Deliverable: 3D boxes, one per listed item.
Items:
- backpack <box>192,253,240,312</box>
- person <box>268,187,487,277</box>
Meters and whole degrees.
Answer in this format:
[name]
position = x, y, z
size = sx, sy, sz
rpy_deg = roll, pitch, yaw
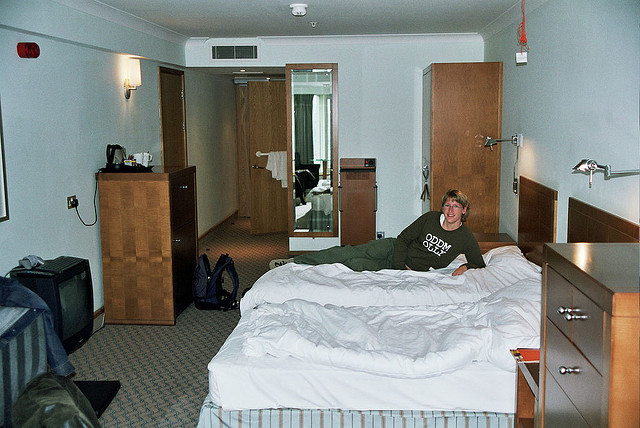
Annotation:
[backpack]
position = -1.198, 0.839, 5.763
size = 0.516, 0.666, 0.473
rpy_deg = 8, 1, 4
[person]
position = 0.632, 0.262, 4.991
size = 2.006, 0.857, 0.687
rpy_deg = -5, -2, 12
